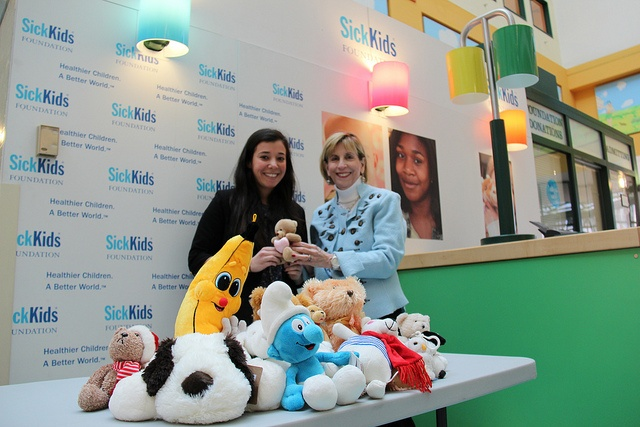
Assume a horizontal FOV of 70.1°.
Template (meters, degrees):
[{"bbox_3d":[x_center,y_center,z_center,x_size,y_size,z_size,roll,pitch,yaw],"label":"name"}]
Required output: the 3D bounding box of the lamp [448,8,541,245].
[{"bbox_3d":[1.210,-0.646,3.100,0.552,1.125,1.016,-6,2,15],"label":"lamp"}]

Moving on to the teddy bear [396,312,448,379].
[{"bbox_3d":[0.399,0.506,1.790,0.162,0.241,0.196,8,-28,-24],"label":"teddy bear"}]

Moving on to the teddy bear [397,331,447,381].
[{"bbox_3d":[0.389,0.515,1.784,0.153,0.249,0.192,4,-11,-26],"label":"teddy bear"}]

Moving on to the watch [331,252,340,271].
[{"bbox_3d":[0.079,0.254,2.355,0.043,0.075,0.061,-7,2,2],"label":"watch"}]

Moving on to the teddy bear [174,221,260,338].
[{"bbox_3d":[-0.354,0.220,1.620,0.143,0.405,0.342,-5,3,44],"label":"teddy bear"}]

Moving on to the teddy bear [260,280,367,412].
[{"bbox_3d":[0.001,0.400,1.598,0.350,0.438,0.348,-10,-5,-42],"label":"teddy bear"}]

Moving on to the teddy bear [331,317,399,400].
[{"bbox_3d":[0.149,0.498,1.538,0.130,0.076,0.183,30,22,-9],"label":"teddy bear"}]

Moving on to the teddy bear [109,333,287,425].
[{"bbox_3d":[-0.378,0.513,1.386,0.539,0.273,0.119,-8,2,-8],"label":"teddy bear"}]

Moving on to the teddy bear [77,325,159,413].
[{"bbox_3d":[-0.694,0.539,1.646,0.168,0.308,0.305,17,-7,27],"label":"teddy bear"}]

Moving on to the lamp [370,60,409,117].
[{"bbox_3d":[0.527,-1.020,3.796,0.334,0.423,0.369,1,-2,0],"label":"lamp"}]

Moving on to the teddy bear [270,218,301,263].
[{"bbox_3d":[-0.168,0.136,2.197,0.137,0.195,0.105,-15,-25,32],"label":"teddy bear"}]
